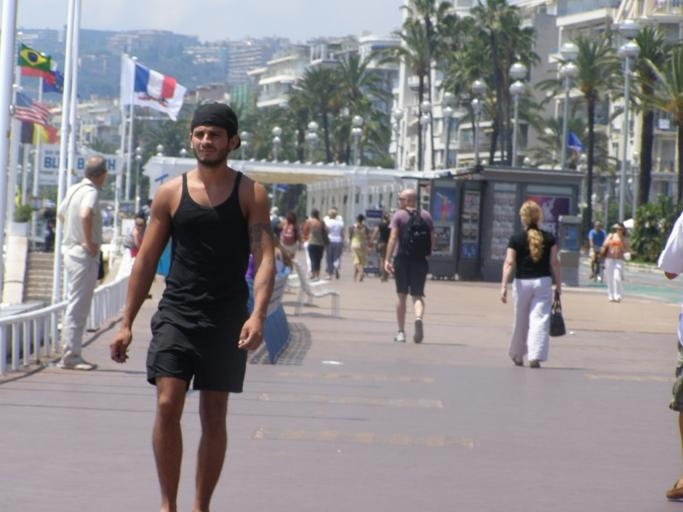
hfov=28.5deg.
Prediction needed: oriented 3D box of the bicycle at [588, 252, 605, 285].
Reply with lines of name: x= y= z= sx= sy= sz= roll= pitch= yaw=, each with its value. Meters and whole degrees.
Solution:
bicycle: x=7.166 y=0.413 z=37.641 sx=0.302 sy=0.395 sz=1.243 roll=20 pitch=8 yaw=5

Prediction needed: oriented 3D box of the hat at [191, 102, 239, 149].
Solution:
hat: x=-1.176 y=-1.220 z=12.861 sx=0.334 sy=0.376 sz=0.481 roll=1 pitch=-6 yaw=7

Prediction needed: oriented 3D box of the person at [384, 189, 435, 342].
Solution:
person: x=1.069 y=0.136 z=20.200 sx=0.689 sy=2.009 sz=1.061 roll=0 pitch=0 yaw=11

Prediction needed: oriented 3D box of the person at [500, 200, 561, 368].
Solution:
person: x=2.621 y=0.392 z=18.723 sx=0.833 sy=2.273 sz=1.011 roll=2 pitch=-2 yaw=-14
